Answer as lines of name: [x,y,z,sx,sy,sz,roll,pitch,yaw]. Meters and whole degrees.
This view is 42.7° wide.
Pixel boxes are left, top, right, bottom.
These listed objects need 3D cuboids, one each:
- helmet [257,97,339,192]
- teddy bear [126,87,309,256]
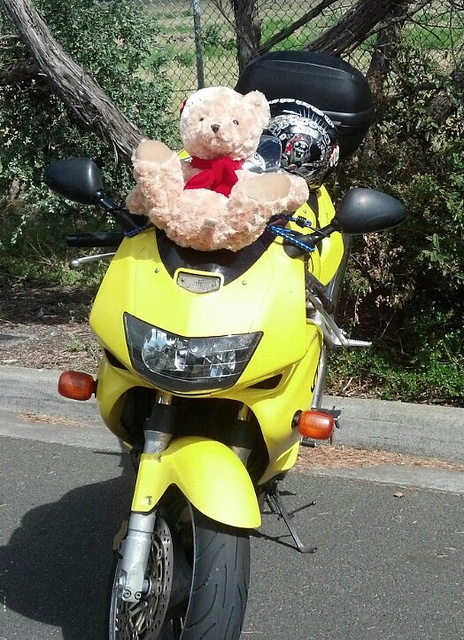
helmet: [0.287,-0.766,2.628,0.372,0.371,0.444,11,46,5]
teddy bear: [-0.028,-0.396,1.560,0.436,0.372,0.438,7,32,12]
